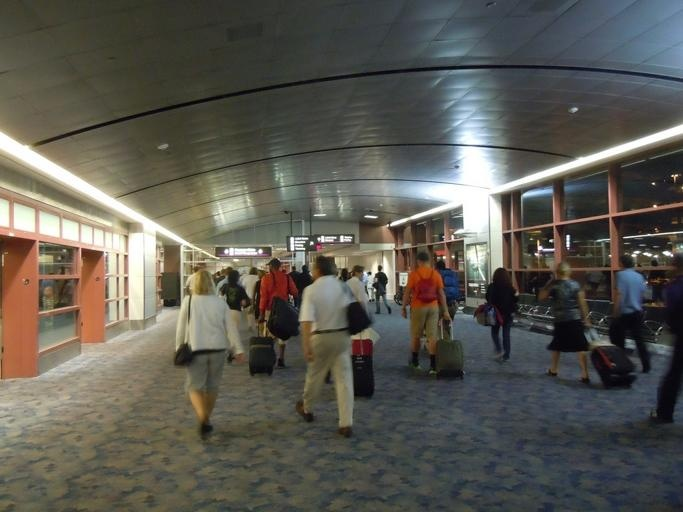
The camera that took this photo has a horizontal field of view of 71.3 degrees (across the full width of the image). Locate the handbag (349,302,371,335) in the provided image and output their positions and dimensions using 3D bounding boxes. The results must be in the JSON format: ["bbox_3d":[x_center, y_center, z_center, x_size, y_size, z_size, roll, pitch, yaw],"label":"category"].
[{"bbox_3d":[0.252,0.716,5.578,0.304,0.374,0.189,-2,0,-45],"label":"handbag"}]

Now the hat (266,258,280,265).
[{"bbox_3d":[-1.258,0.108,8.900,0.167,0.156,0.179,6,-9,-16],"label":"hat"}]

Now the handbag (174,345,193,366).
[{"bbox_3d":[-1.797,1.133,5.435,0.124,0.204,0.218,6,-33,-9],"label":"handbag"}]

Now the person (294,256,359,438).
[{"bbox_3d":[-0.162,1.034,5.750,0.651,2.003,0.642,-2,0,-3],"label":"person"}]

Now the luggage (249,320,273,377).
[{"bbox_3d":[-1.436,1.814,8.609,0.458,0.673,0.480,-2,0,-10],"label":"luggage"}]

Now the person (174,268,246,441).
[{"bbox_3d":[-1.563,1.123,5.636,0.751,1.781,0.408,-2,0,-11],"label":"person"}]

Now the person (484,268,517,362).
[{"bbox_3d":[3.172,1.138,9.341,0.578,1.860,0.542,-2,0,17],"label":"person"}]

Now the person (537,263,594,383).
[{"bbox_3d":[3.743,1.063,7.898,0.700,2.019,1.127,-2,0,25],"label":"person"}]

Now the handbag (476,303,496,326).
[{"bbox_3d":[2.814,1.128,9.203,0.350,0.445,0.326,-2,0,14],"label":"handbag"}]

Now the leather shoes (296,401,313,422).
[{"bbox_3d":[-0.469,1.976,6.066,0.129,0.121,0.325,1,6,-16],"label":"leather shoes"}]

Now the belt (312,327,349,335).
[{"bbox_3d":[-0.115,0.870,5.508,0.411,0.066,0.068,-1,0,1],"label":"belt"}]

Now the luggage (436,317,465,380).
[{"bbox_3d":[1.908,1.626,8.378,0.456,0.952,1.067,-2,0,12],"label":"luggage"}]

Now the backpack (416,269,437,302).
[{"bbox_3d":[1.507,0.524,8.247,0.378,0.590,0.184,-2,0,-28],"label":"backpack"}]

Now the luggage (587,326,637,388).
[{"bbox_3d":[4.080,1.637,7.163,0.564,0.895,0.376,-2,0,24],"label":"luggage"}]
